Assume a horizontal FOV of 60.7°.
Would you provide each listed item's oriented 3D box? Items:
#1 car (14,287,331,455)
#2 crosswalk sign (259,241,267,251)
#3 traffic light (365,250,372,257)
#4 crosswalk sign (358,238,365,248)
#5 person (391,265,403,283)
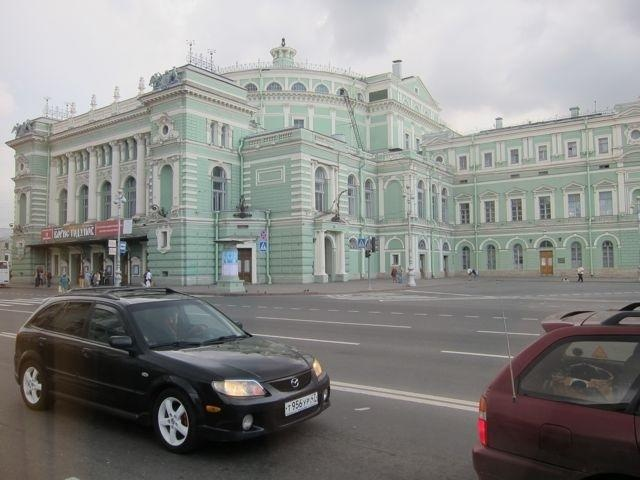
[{"bbox_3d":[-2.400,1.705,7.895,4.325,1.628,2.056,0,-2,36],"label":"car"},{"bbox_3d":[-4.611,0.424,43.562,0.729,1.059,0.107,0,-1,-13],"label":"crosswalk sign"},{"bbox_3d":[3.541,0.936,39.623,0.599,0.619,0.326,1,-5,-26],"label":"traffic light"},{"bbox_3d":[3.959,0.254,50.941,0.731,0.775,0.738,-1,-4,-5],"label":"crosswalk sign"},{"bbox_3d":[6.865,3.015,48.026,0.868,1.643,0.611,-8,-24,18],"label":"person"}]
